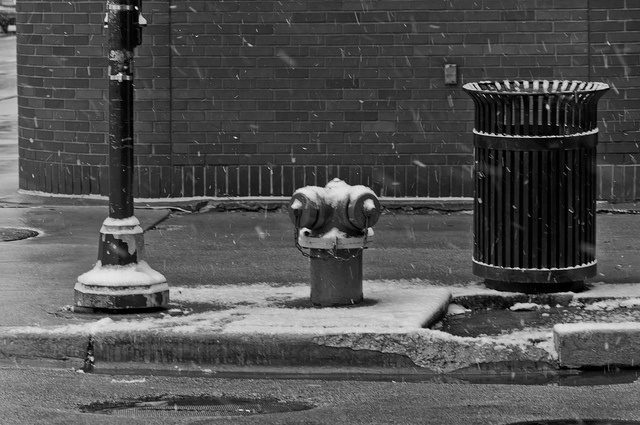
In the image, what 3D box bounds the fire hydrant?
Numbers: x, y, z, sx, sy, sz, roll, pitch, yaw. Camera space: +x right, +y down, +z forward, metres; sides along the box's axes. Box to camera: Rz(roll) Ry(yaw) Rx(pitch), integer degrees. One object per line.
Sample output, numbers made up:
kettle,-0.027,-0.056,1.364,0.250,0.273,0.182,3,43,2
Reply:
fire hydrant,0.142,0.329,14.753,0.904,1.257,0.301,-1,5,0
